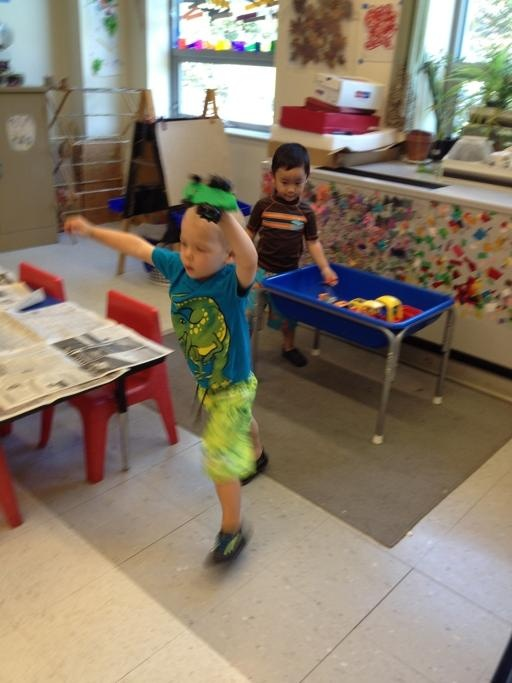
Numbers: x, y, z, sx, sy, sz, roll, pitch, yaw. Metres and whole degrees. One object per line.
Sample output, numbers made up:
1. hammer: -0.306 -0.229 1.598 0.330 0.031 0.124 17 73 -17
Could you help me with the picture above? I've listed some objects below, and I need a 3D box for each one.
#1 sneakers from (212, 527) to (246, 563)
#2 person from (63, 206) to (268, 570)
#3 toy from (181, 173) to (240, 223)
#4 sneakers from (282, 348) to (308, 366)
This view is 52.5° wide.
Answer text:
1. sneakers: -0.072 0.543 1.406 0.045 0.045 0.119 1 0 17
2. person: -0.100 0.076 1.411 0.414 0.933 0.513 -14 28 -36
3. toy: -0.088 -0.281 1.019 0.107 0.086 0.169 1 21 -4
4. sneakers: 0.194 0.079 2.569 0.131 0.053 0.064 33 51 29
